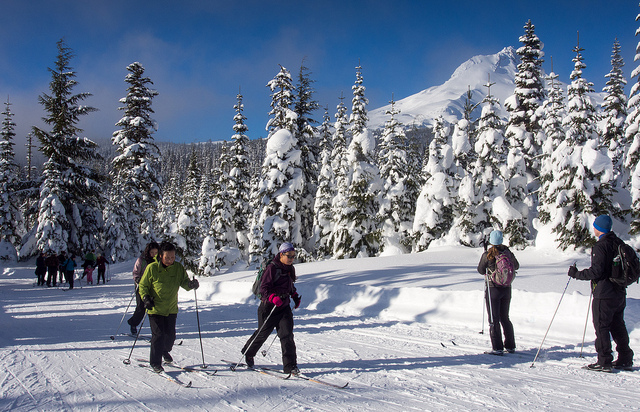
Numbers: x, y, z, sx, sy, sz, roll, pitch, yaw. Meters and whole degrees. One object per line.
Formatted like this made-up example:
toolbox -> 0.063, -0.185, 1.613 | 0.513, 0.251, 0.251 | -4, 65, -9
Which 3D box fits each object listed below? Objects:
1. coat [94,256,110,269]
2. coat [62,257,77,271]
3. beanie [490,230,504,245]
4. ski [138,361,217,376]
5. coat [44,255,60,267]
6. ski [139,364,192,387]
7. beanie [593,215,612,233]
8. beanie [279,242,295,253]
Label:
coat -> -15.680, 4.071, 43.575 | 1.300, 1.132, 0.408 | 0, 9, -8
coat -> -16.566, 3.921, 40.641 | 0.590, 1.139, 1.138 | -3, -1, 9
beanie -> 8.042, 1.429, 27.693 | 0.568, 0.665, 0.469 | 1, -3, 1
ski -> -6.296, 7.157, 26.678 | 2.006, 0.248, 0.288 | 9, 5, 9
coat -> -18.305, 3.770, 41.479 | 0.895, 0.827, 0.463 | 1, -3, 8
ski -> -6.717, 7.403, 26.301 | 1.539, 0.186, 0.216 | 25, 5, 25
beanie -> 12.573, 0.774, 27.082 | 0.749, 0.732, 0.648 | 31, -46, 1
beanie -> -1.434, 1.842, 26.783 | 0.637, 0.446, 0.658 | 2, -3, -4
